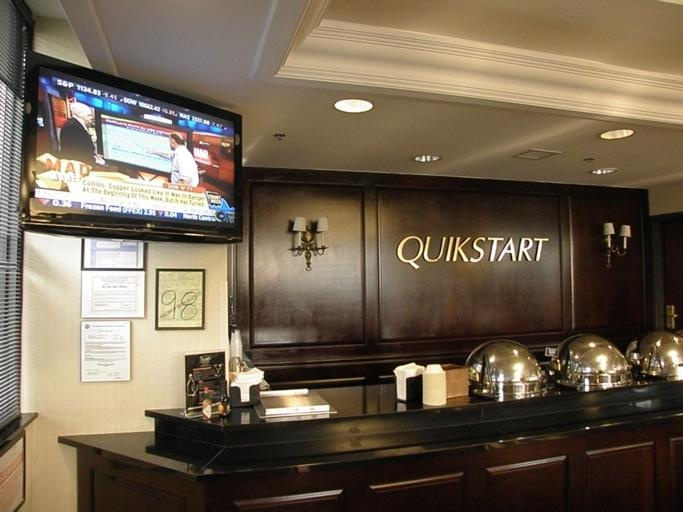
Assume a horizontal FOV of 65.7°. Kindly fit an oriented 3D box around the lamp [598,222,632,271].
[{"bbox_3d":[3.405,-0.140,6.614,0.346,0.518,0.261,5,-1,-6],"label":"lamp"}]

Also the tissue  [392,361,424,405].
[{"bbox_3d":[0.440,0.825,3.456,0.186,0.207,0.199,-2,-3,38],"label":"tissue "}]

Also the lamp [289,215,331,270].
[{"bbox_3d":[-0.337,-0.141,5.506,0.396,0.551,0.264,-2,-4,-5],"label":"lamp"}]

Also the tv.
[{"bbox_3d":[-1.325,-0.682,3.237,1.301,0.864,0.139,6,-13,-38],"label":"tv"}]

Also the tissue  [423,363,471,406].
[{"bbox_3d":[0.669,0.802,3.325,0.395,0.253,0.218,4,-10,-34],"label":"tissue "}]
